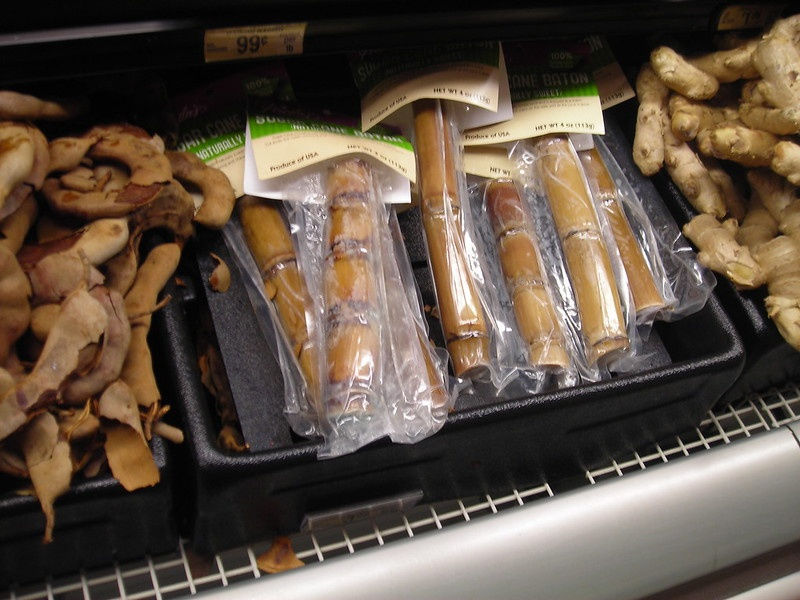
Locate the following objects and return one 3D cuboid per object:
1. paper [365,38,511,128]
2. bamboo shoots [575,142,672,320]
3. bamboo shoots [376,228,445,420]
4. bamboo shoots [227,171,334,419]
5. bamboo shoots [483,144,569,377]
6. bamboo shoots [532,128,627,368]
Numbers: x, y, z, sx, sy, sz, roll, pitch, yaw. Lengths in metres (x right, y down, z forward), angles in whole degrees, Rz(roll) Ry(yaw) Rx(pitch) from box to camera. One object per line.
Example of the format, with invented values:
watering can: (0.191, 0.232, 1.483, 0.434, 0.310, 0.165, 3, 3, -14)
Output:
paper: (0.054, -0.338, 0.944, 0.150, 0.183, 0.044, -6, -18, 0)
bamboo shoots: (0.360, -0.151, 1.052, 0.066, 0.356, 0.058, -11, -23, -5)
bamboo shoots: (-0.006, 0.043, 0.888, 0.070, 0.298, 0.071, -2, -25, -21)
bamboo shoots: (-0.177, -0.035, 0.927, 0.094, 0.398, 0.089, -12, -13, -3)
bamboo shoots: (0.192, -0.046, 0.944, 0.070, 0.330, 0.053, -15, -16, 4)
bamboo shoots: (0.282, -0.087, 1.003, 0.078, 0.400, 0.074, -9, -18, -5)
